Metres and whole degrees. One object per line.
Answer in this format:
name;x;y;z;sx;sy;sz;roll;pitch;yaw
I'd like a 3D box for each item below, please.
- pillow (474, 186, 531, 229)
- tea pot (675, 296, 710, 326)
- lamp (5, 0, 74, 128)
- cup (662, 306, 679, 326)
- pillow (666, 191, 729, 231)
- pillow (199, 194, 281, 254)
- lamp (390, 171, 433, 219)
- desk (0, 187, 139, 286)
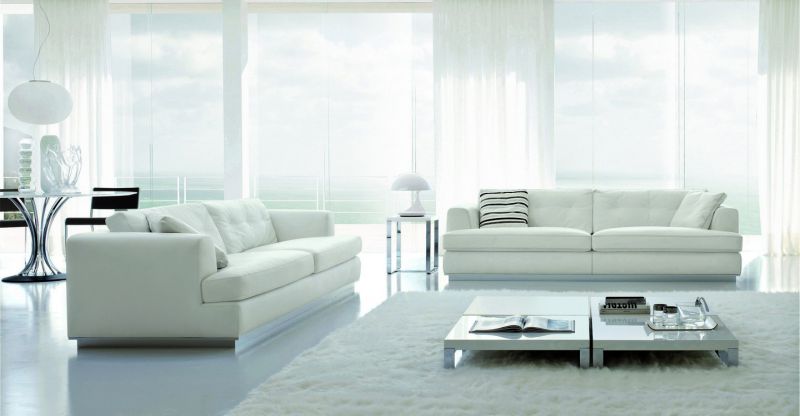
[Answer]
pillow;1.532;0.012;9.026;0.796;0.258;0.552;2;36;6
tea pot;3.172;1.104;6.593;0.368;0.283;0.264;-1;-4;22
lamp;-5.783;-2.323;9.697;0.814;2.023;2.235;-7;11;-28
cup;2.913;1.142;6.545;0.207;0.225;0.185;-1;1;8
pillow;4.254;0.017;8.679;0.201;0.599;0.643;32;-3;-29
pillow;-2.107;0.182;7.925;0.241;0.697;0.801;-30;-10;36
lamp;0.148;-0.238;9.380;0.580;0.636;0.813;-2;9;-2
desk;-4.912;0.347;8.894;1.814;0.812;1.703;1;1;23
